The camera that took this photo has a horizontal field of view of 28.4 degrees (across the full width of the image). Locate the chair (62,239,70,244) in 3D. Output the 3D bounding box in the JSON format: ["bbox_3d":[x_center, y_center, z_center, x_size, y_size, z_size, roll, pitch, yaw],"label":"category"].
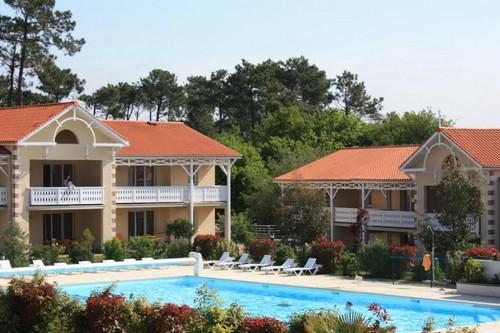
[{"bbox_3d":[-13.492,5.560,72.232,0.390,0.579,0.389,1,2,-32],"label":"chair"}]

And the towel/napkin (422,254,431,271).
[{"bbox_3d":[10.912,5.888,60.436,0.518,0.956,1.086,-1,-6,10],"label":"towel/napkin"}]

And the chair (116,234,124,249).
[{"bbox_3d":[-9.280,5.381,70.162,0.534,0.988,0.654,2,-4,-38],"label":"chair"}]

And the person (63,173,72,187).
[{"bbox_3d":[-13.497,1.067,72.756,0.488,1.500,0.447,15,17,33],"label":"person"}]

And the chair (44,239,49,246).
[{"bbox_3d":[-14.937,5.561,72.106,0.377,0.581,0.386,1,0,22],"label":"chair"}]
